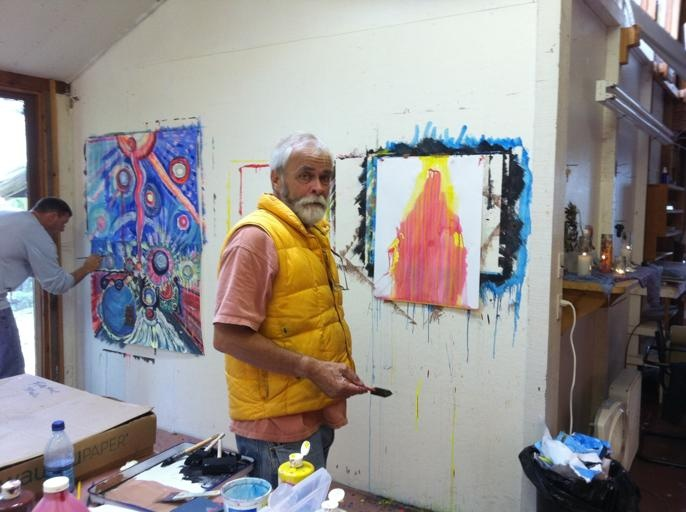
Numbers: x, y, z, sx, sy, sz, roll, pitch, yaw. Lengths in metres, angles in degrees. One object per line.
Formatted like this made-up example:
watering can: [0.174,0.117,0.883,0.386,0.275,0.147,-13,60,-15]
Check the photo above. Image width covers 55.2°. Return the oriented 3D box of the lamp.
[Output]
lamp: [2.168,-1.079,4.859,0.173,0.232,1.529,1,2,38]

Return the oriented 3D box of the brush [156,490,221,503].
brush: [-0.695,1.076,2.944,0.169,0.010,0.053,-4,10,-17]

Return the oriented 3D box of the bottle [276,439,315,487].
bottle: [-0.207,0.898,2.847,0.145,0.169,0.150,-1,1,-10]

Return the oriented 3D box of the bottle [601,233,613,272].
bottle: [1.857,-0.023,4.636,0.085,0.257,0.161,0,1,22]

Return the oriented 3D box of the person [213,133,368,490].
person: [-0.265,0.248,3.250,0.732,1.712,0.408,-1,1,-12]

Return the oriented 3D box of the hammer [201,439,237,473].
hammer: [-0.586,0.949,3.143,0.161,0.124,0.179,-1,1,-6]

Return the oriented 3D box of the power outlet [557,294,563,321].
power outlet: [1.255,0.297,3.833,0.036,0.115,0.106,2,3,25]

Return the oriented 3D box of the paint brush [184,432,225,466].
paint brush: [-0.659,0.923,3.159,0.079,0.079,0.260,13,16,20]
